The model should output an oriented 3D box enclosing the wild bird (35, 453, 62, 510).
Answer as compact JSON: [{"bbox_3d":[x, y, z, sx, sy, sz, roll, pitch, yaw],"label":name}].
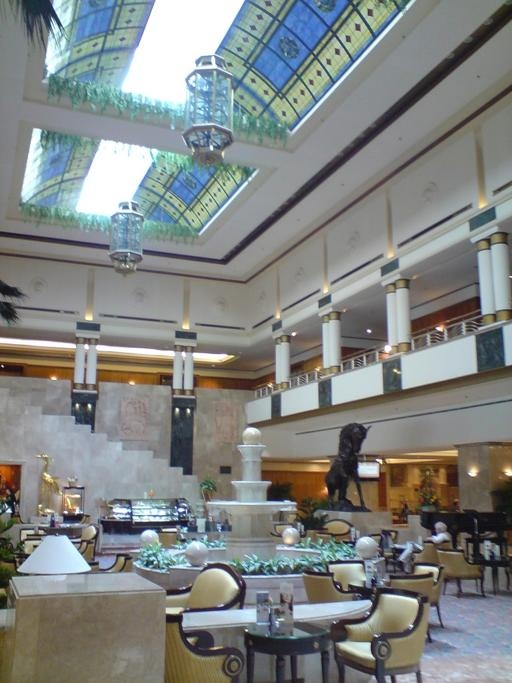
[{"bbox_3d":[-6.654,4.571,16.878,0.754,1.814,1.141,5,-14,-21],"label":"wild bird"}]

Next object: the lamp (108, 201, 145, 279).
[{"bbox_3d":[-3.170,-2.692,12.897,0.735,1.959,0.662,4,-14,-19],"label":"lamp"}]

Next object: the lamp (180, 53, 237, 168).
[{"bbox_3d":[-0.741,-3.814,8.250,0.663,1.478,0.577,1,0,-5],"label":"lamp"}]

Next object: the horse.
[{"bbox_3d":[2.540,3.578,14.931,1.117,2.356,3.001,-2,-13,8],"label":"horse"}]
